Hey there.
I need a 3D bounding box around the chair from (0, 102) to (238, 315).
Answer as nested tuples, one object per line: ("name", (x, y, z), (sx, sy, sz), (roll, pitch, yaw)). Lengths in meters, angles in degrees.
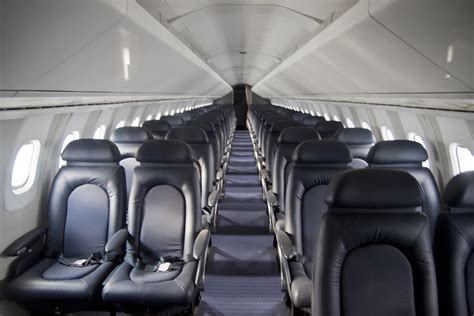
("chair", (-1.142, 0.911, 4.481), (1.843, 2.508, 2.129), (-1, -18, 0))
